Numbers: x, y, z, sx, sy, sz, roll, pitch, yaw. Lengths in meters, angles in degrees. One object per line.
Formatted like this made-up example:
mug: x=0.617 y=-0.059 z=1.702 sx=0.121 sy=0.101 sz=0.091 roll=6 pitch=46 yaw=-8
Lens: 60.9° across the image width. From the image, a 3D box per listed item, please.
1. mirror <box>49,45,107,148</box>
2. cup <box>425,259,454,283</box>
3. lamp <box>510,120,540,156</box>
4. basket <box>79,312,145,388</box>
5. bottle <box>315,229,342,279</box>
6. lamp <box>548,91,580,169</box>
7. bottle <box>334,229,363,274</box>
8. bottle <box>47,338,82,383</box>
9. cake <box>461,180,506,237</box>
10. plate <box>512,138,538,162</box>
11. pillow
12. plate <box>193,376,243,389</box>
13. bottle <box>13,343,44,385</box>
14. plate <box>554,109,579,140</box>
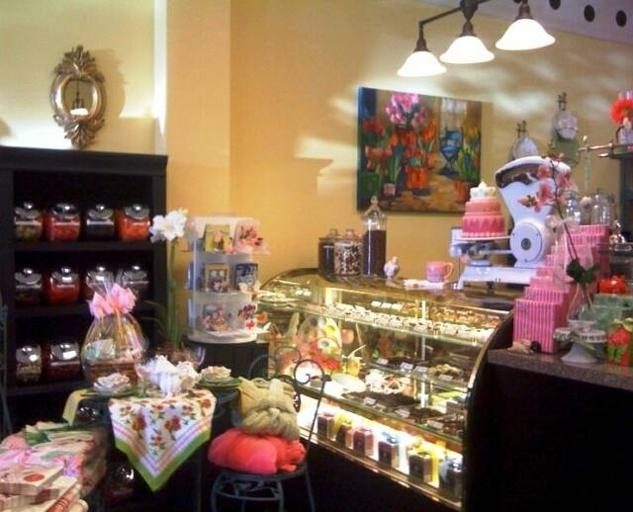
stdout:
mirror: x=-1.521 y=-1.016 z=3.434 sx=0.337 sy=0.651 sz=0.108 roll=-3 pitch=6 yaw=-28
cup: x=0.660 y=0.081 z=2.853 sx=0.153 sy=0.118 sz=0.107 roll=-2 pitch=1 yaw=-23
lamp: x=1.519 y=-0.798 z=3.932 sx=0.144 sy=0.353 sz=0.146 roll=1 pitch=-5 yaw=-17
basket: x=-0.830 y=0.395 z=2.235 sx=0.235 sy=0.366 sz=0.251 roll=0 pitch=-12 yaw=-17
bottle: x=0.098 y=-0.035 z=3.618 sx=0.152 sy=0.286 sz=0.158 roll=3 pitch=8 yaw=0
lamp: x=2.066 y=-1.054 z=4.465 sx=0.260 sy=0.655 sz=0.244 roll=7 pitch=-2 yaw=-8
bottle: x=0.209 y=-0.021 z=3.486 sx=0.176 sy=0.310 sz=0.180 roll=1 pitch=5 yaw=0
bottle: x=-1.420 y=0.573 z=3.069 sx=0.222 sy=0.330 sz=0.217 roll=1 pitch=-2 yaw=0
cake: x=0.834 y=-0.238 z=2.726 sx=0.245 sy=0.295 sz=0.245 roll=0 pitch=2 yaw=30
plate: x=1.532 y=-0.799 z=3.932 sx=0.190 sy=0.170 sz=0.311 roll=2 pitch=6 yaw=22
pillow: x=-0.217 y=0.666 z=2.384 sx=0.183 sy=0.128 sz=0.285 roll=3 pitch=2 yaw=-3
plate: x=-0.445 y=0.557 z=2.366 sx=0.111 sy=0.029 sz=0.114 roll=-1 pitch=-2 yaw=1
bottle: x=-1.631 y=0.613 z=3.002 sx=0.192 sy=0.228 sz=0.168 roll=3 pitch=24 yaw=-31
plate: x=2.061 y=-1.051 z=4.429 sx=0.167 sy=0.250 sz=0.148 roll=1 pitch=-10 yaw=-7
